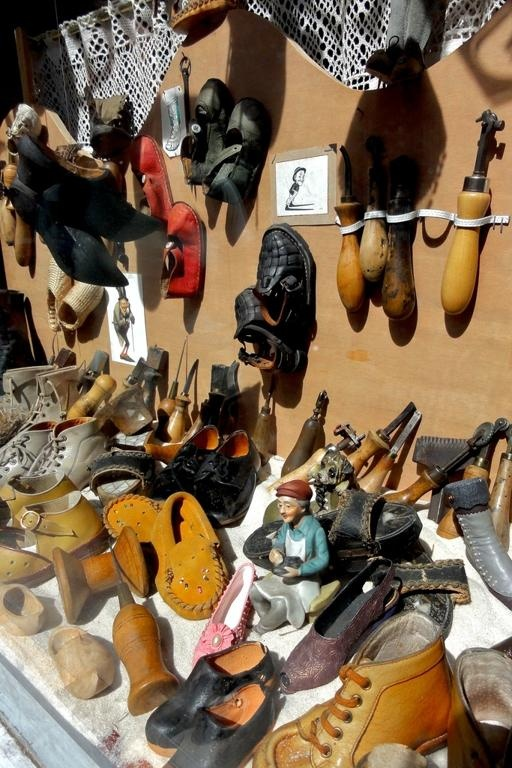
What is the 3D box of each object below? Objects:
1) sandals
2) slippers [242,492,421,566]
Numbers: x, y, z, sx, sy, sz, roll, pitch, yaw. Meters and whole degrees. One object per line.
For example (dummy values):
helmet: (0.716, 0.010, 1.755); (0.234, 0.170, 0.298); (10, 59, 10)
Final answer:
sandals: (0.150, 0.441, 1.025); (0.283, 0.084, 0.089); (-33, 28, -23)
slippers: (0.161, 0.336, 1.306); (0.399, 0.133, 0.169); (-12, 23, 20)
